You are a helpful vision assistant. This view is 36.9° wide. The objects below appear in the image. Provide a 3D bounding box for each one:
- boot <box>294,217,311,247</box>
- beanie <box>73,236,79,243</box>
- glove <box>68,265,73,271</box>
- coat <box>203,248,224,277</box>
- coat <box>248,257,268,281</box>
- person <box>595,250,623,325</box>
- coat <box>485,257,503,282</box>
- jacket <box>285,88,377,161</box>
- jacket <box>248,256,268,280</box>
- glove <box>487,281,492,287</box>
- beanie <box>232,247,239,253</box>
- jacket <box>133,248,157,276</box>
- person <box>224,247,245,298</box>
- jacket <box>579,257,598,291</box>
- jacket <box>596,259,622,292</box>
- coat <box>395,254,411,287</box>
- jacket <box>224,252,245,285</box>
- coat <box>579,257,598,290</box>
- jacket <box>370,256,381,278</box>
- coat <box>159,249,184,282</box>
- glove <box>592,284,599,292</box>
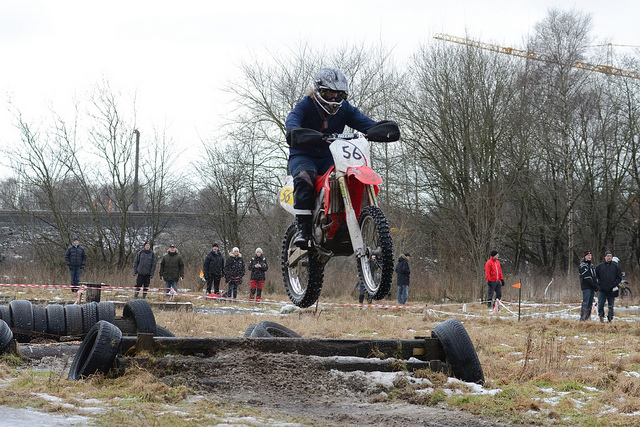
[{"bbox_3d":[-0.467,0.488,25.949,0.440,0.815,0.274,-1,-5,21],"label":"boot"},{"bbox_3d":[-10.933,1.134,42.816,0.211,0.263,0.176,0,-17,-13],"label":"beanie"},{"bbox_3d":[-10.262,2.226,39.408,0.114,0.217,0.493,1,-5,-11],"label":"glove"},{"bbox_3d":[-4.335,2.012,39.138,0.797,1.138,0.619,1,-5,-8],"label":"coat"},{"bbox_3d":[-2.496,2.263,38.876,0.949,1.286,0.800,1,-8,-4],"label":"coat"},{"bbox_3d":[10.250,2.562,33.813,0.956,2.507,0.831,4,-6,-42],"label":"person"},{"bbox_3d":[6.888,2.197,37.511,0.634,0.953,0.355,2,-5,-26],"label":"coat"},{"bbox_3d":[0.168,-2.381,26.250,1.437,1.847,2.660,8,-6,-40],"label":"jacket"},{"bbox_3d":[-2.463,2.107,38.909,0.982,1.328,0.774,1,-10,-3],"label":"jacket"},{"bbox_3d":[6.714,2.754,37.494,0.109,0.212,0.084,6,0,21],"label":"glove"},{"bbox_3d":[-3.635,1.572,41.505,0.249,0.233,0.353,0,-42,-8],"label":"beanie"},{"bbox_3d":[-7.038,1.966,38.445,1.177,1.436,0.702,7,-13,-14],"label":"jacket"},{"bbox_3d":[-3.556,2.443,39.691,0.779,2.019,1.538,1,-5,-5],"label":"person"},{"bbox_3d":[9.750,2.059,34.118,0.728,1.456,1.134,-5,-1,15],"label":"jacket"},{"bbox_3d":[10.300,2.246,33.920,0.940,1.240,0.656,-2,-8,25],"label":"jacket"},{"bbox_3d":[3.347,2.239,38.182,0.502,1.261,1.390,0,-5,5],"label":"coat"},{"bbox_3d":[-3.522,2.255,39.484,0.750,1.320,0.737,1,-5,-7],"label":"jacket"},{"bbox_3d":[9.615,2.192,34.309,0.729,1.457,1.131,-6,-2,16],"label":"coat"},{"bbox_3d":[1.512,1.460,25.818,0.240,0.512,0.512,0,-5,-1],"label":"jacket"},{"bbox_3d":[-5.831,2.027,37.764,0.866,1.223,0.528,2,-5,-16],"label":"coat"},{"bbox_3d":[9.821,2.634,33.938,0.154,0.226,0.341,4,-1,-10],"label":"glove"}]
